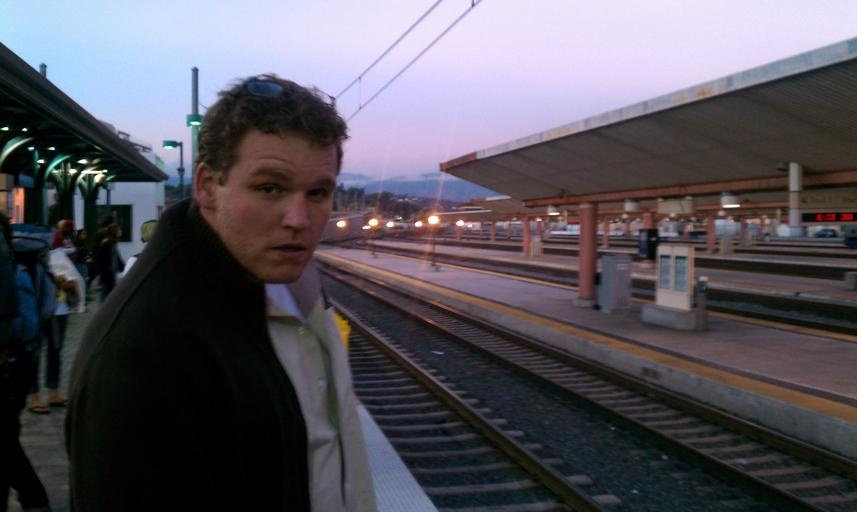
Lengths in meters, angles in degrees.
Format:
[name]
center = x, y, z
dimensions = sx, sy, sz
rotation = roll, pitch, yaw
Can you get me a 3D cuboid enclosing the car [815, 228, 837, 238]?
[car]
center = 55.925, -3.282, 77.705
dimensions = 2.496, 1.123, 1.518
rotation = 4, 4, 20
